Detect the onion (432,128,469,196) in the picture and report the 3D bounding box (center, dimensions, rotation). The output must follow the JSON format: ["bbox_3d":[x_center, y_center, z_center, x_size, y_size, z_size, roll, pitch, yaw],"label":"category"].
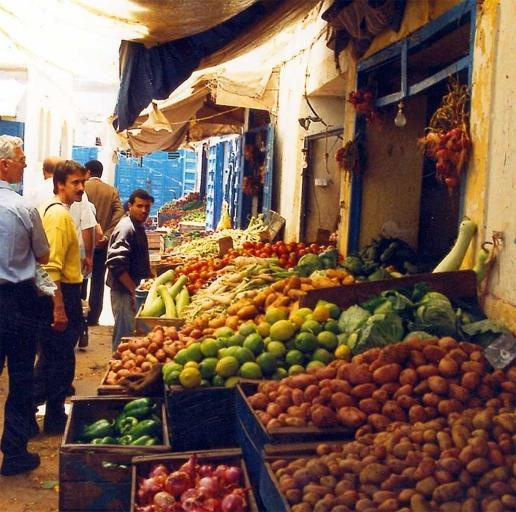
[{"bbox_3d":[1.232,-0.627,3.241,0.181,0.408,0.305,3,5,7],"label":"onion"}]

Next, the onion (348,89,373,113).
[{"bbox_3d":[0.987,-1.484,4.864,0.221,0.251,0.140,-5,-12,34],"label":"onion"}]
